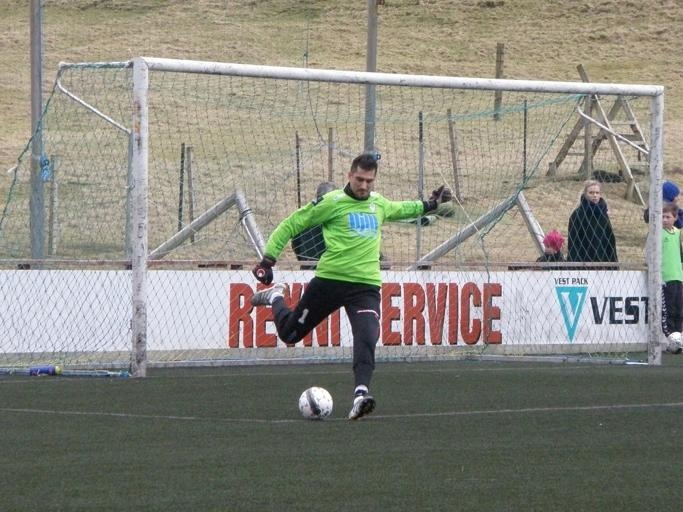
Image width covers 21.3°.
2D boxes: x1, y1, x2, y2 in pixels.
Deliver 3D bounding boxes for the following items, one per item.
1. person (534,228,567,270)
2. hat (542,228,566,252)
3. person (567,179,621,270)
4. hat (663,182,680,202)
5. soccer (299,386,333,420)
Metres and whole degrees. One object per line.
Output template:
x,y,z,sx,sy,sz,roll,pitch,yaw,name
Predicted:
3.934,-0.126,34.254,0.848,0.934,0.524,2,12,7,person
4.006,-0.305,33.835,0.326,0.408,0.428,-6,25,-14,hat
4.568,-0.639,33.084,0.866,1.419,0.479,1,10,7,person
6.326,-1.229,34.699,0.343,0.385,0.422,1,6,1,hat
-0.381,2.267,28.275,0.516,0.465,0.376,-1,9,-6,soccer
